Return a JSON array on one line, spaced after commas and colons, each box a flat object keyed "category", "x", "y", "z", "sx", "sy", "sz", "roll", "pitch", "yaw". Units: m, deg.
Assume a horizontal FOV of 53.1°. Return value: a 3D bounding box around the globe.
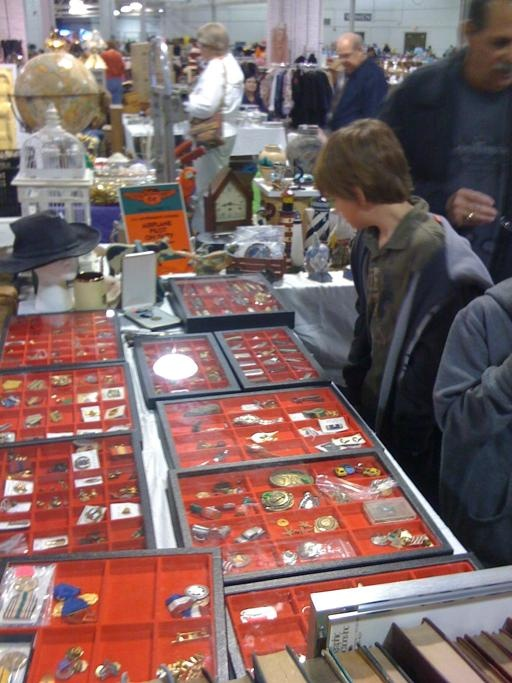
[{"category": "globe", "x": -1.167, "y": -1.458, "z": 3.107, "sx": 0.521, "sy": 0.513, "sz": 0.509, "roll": 9, "pitch": 28, "yaw": 16}]
